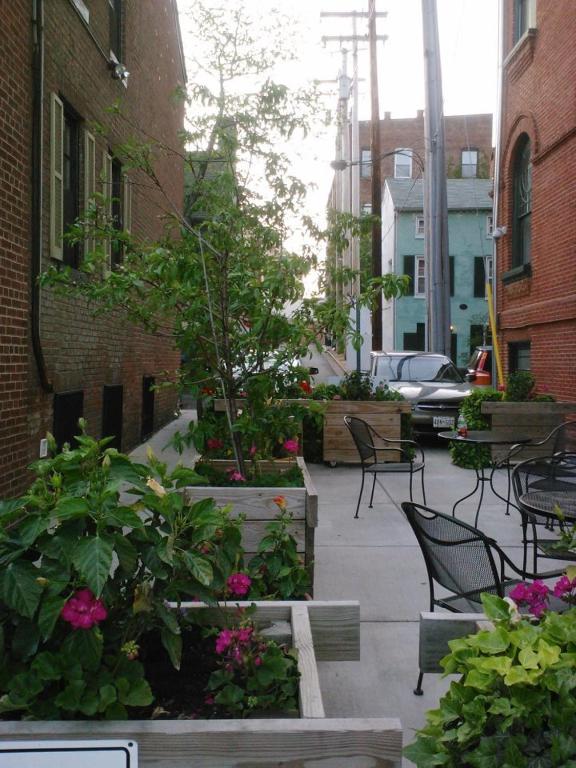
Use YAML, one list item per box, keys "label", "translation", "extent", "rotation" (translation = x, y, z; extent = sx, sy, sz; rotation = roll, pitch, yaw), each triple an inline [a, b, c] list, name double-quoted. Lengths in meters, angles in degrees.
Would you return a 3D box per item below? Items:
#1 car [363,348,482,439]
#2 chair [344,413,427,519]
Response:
- label: "car"
  translation: [2.598, 0.055, 13.086]
  extent: [1.295, 1.126, 2.636]
  rotation: [0, 0, -5]
- label: "chair"
  translation: [1.086, 0.885, 7.279]
  extent: [0.815, 1.039, 0.718]
  rotation: [-1, 0, 31]
